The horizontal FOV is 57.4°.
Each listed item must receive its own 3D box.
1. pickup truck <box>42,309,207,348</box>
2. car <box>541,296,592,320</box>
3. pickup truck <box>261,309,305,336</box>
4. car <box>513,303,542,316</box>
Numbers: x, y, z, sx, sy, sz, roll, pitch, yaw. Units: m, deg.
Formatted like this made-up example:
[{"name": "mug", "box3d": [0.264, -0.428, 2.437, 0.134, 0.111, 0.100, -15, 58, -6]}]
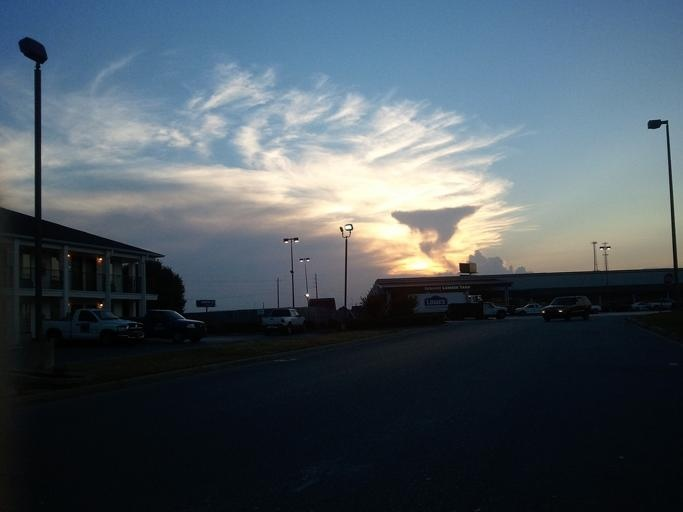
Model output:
[{"name": "pickup truck", "box3d": [-11.368, 3.694, 32.955, 4.170, 2.081, 6.753, -6, -4, 39]}, {"name": "car", "box3d": [15.140, 3.531, 42.071, 2.218, 1.101, 4.470, -6, -4, 33]}, {"name": "pickup truck", "box3d": [-4.134, 4.732, 44.862, 1.647, 1.309, 3.198, -2, -6, 14]}, {"name": "car", "box3d": [22.651, 6.532, 75.649, 2.634, 1.077, 1.720, 1, -1, 14]}]
